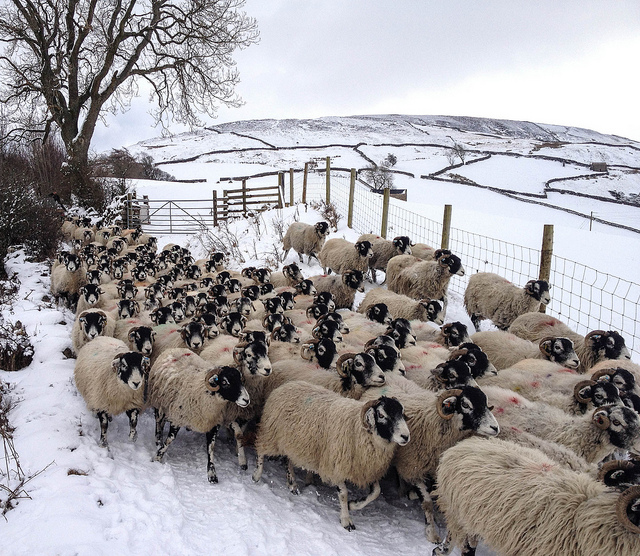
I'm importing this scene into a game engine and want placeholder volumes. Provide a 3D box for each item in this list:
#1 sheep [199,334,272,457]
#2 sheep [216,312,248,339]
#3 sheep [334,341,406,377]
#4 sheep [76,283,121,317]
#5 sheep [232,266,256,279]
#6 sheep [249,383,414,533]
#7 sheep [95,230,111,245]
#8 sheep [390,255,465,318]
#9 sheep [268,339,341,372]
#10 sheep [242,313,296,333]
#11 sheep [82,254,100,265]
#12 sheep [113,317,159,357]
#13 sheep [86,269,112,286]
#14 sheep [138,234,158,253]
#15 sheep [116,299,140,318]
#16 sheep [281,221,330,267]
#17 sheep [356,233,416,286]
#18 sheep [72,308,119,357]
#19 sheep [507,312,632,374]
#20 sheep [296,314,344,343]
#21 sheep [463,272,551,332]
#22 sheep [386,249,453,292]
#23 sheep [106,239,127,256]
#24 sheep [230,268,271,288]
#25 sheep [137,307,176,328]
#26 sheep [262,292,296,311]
[{"bbox_3d":[-1.080,1.560,7.902,0.658,1.592,2.136,-10,3,-24],"label":"sheep"},{"bbox_3d":[-1.441,0.757,8.917,0.273,0.342,0.609,3,-8,-25],"label":"sheep"},{"bbox_3d":[0.798,1.039,7.178,0.620,0.232,0.495,27,-3,-37],"label":"sheep"},{"bbox_3d":[-4.227,0.296,10.354,0.500,0.588,1.207,-1,15,-17],"label":"sheep"},{"bbox_3d":[-1.736,-0.130,12.382,0.454,0.276,0.225,-2,-5,41],"label":"sheep"},{"bbox_3d":[0.071,2.071,6.737,2.275,1.820,0.844,9,11,35],"label":"sheep"},{"bbox_3d":[-6.996,-1.317,17.492,0.360,0.526,0.720,1,4,-33],"label":"sheep"},{"bbox_3d":[2.121,0.079,11.238,1.751,1.440,0.753,14,19,38],"label":"sheep"},{"bbox_3d":[-0.207,1.055,7.731,0.888,0.483,0.463,7,-5,25],"label":"sheep"},{"bbox_3d":[-0.896,0.767,8.901,0.681,0.343,0.353,-4,-15,33],"label":"sheep"},{"bbox_3d":[-5.766,-0.482,13.579,0.215,0.260,0.454,-2,12,-32],"label":"sheep"},{"bbox_3d":[-2.796,0.851,8.348,0.396,0.569,1.093,5,15,-35],"label":"sheep"},{"bbox_3d":[-4.701,-0.023,11.470,0.327,0.538,0.983,-2,4,-29],"label":"sheep"},{"bbox_3d":[-5.636,-1.138,17.606,0.856,0.650,0.414,7,8,20],"label":"sheep"},{"bbox_3d":[-3.391,0.550,9.483,0.392,0.328,0.402,-5,13,-21],"label":"sheep"},{"bbox_3d":[-0.404,-0.985,14.799,0.624,1.373,1.769,-13,21,-39],"label":"sheep"},{"bbox_3d":[1.304,-0.433,12.989,1.779,1.092,0.603,1,-16,43],"label":"sheep"},{"bbox_3d":[-3.767,0.977,8.890,0.678,0.946,1.378,3,0,-22],"label":"sheep"},{"bbox_3d":[3.732,0.886,8.264,1.690,0.910,0.736,24,19,38],"label":"sheep"},{"bbox_3d":[0.020,0.798,8.202,0.365,0.204,0.568,2,17,-40],"label":"sheep"},{"bbox_3d":[3.489,0.530,10.170,0.648,1.338,1.799,-4,13,-32],"label":"sheep"},{"bbox_3d":[2.127,-0.251,11.578,1.544,1.227,0.658,5,7,10],"label":"sheep"},{"bbox_3d":[-5.989,-0.943,15.969,0.436,0.563,0.969,2,14,-32],"label":"sheep"},{"bbox_3d":[-1.597,-0.015,12.008,0.866,0.498,0.385,4,3,38],"label":"sheep"},{"bbox_3d":[-2.850,0.672,9.352,0.707,0.350,0.358,-3,0,41],"label":"sheep"},{"bbox_3d":[-0.767,0.450,10.154,0.294,0.333,0.592,1,-1,-41],"label":"sheep"}]
